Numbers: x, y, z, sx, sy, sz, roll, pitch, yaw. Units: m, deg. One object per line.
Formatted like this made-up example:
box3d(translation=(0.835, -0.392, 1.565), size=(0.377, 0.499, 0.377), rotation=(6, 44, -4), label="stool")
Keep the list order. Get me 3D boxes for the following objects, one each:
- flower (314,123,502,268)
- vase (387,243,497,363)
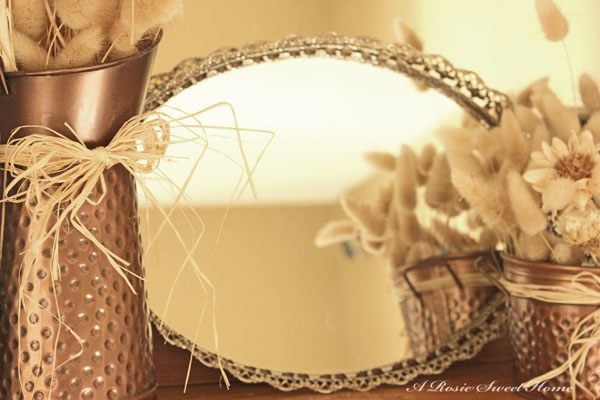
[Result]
box3d(translation=(0.175, 0.012, 1.191), size=(0.195, 0.099, 0.222), rotation=(0, -71, -26), label="flower")
box3d(translation=(0.221, 0.152, 1.122), size=(0.151, 0.125, 0.167), rotation=(-4, -6, 11), label="vase")
